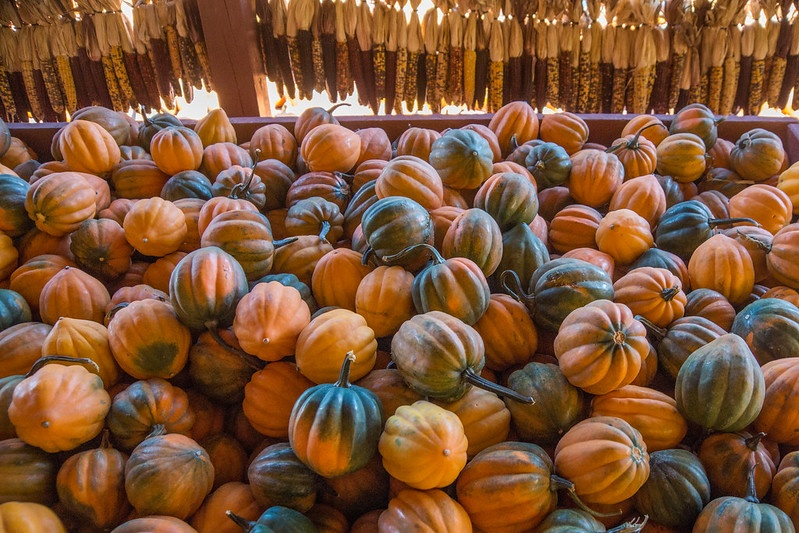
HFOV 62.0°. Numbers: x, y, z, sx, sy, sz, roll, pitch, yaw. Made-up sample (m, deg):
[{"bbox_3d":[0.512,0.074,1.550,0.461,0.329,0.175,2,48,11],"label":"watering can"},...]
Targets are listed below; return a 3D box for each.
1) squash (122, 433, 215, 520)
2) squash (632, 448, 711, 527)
[{"bbox_3d":[-1.519,1.401,4.411,0.490,0.511,0.493,-24,-16,-34],"label":"squash"},{"bbox_3d":[1.771,1.432,4.413,0.419,0.462,0.440,-22,-7,23],"label":"squash"}]
